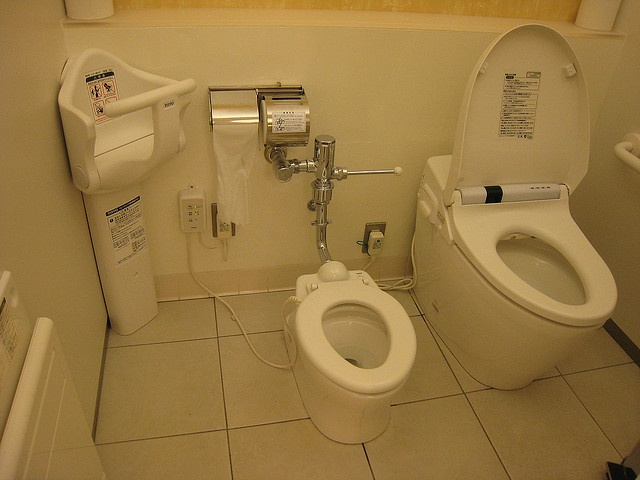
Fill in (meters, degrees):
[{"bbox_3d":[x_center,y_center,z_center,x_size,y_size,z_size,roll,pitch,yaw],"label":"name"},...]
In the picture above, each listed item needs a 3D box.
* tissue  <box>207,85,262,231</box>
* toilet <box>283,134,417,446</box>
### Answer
[{"bbox_3d":[-0.302,-0.302,1.839,0.172,0.462,0.173,-4,36,-7],"label":"tissue "},{"bbox_3d":[0.118,0.168,1.842,0.504,0.738,0.849,-7,44,-15],"label":"toilet"}]
